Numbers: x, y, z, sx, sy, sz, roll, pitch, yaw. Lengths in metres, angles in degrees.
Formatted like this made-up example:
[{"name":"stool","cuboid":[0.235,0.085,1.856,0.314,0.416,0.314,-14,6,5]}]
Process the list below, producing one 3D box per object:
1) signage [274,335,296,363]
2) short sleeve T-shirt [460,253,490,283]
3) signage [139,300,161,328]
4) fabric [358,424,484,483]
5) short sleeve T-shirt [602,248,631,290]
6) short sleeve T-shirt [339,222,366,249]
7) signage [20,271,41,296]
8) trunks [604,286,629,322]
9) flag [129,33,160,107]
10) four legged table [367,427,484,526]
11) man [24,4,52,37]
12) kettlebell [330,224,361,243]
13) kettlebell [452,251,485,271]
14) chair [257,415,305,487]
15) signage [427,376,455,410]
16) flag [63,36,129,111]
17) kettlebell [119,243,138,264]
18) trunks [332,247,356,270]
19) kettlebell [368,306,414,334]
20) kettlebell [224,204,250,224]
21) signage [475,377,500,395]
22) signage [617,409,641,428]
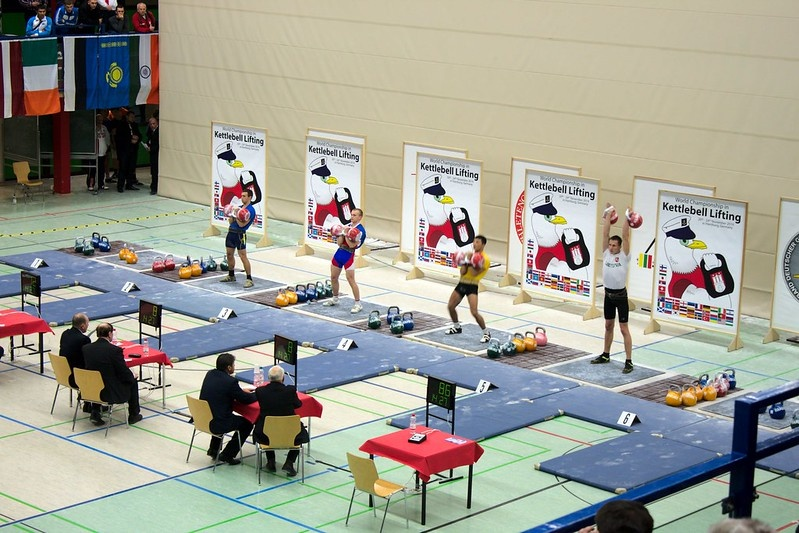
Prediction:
[{"name":"signage","cuboid":[-1.839,1.331,15.969,0.101,0.503,0.586,-6,9,-43]},{"name":"short sleeve T-shirt","cuboid":[1.456,0.014,19.797,0.548,0.678,0.422,23,15,37]},{"name":"signage","cuboid":[-4.381,0.837,17.496,0.594,0.433,0.100,13,8,44]},{"name":"fabric","cuboid":[0.497,2.602,14.158,1.035,0.251,1.058,-10,17,-41]},{"name":"short sleeve T-shirt","cuboid":[3.975,0.049,18.386,0.413,0.709,0.351,2,9,5]},{"name":"short sleeve T-shirt","cuboid":[-0.995,-0.693,21.446,0.420,0.226,0.595,6,25,-5]},{"name":"signage","cuboid":[-6.931,0.344,18.769,0.226,0.467,0.714,-7,13,-41]},{"name":"trunks","cuboid":[3.984,0.709,18.349,0.431,0.605,0.359,2,9,7]},{"name":"flag","cuboid":[-7.735,-6.032,30.334,0.385,2.127,1.096,9,12,40]},{"name":"four legged table","cuboid":[0.380,2.739,14.334,1.385,0.963,1.444,-10,16,-41]},{"name":"man","cuboid":[-10.254,-6.967,28.406,0.686,0.897,1.110,-2,10,-18]},{"name":"kettlebell","cuboid":[-1.039,-0.733,21.563,0.315,0.283,0.768,0,-2,27]},{"name":"kettlebell","cuboid":[1.428,-0.117,19.675,0.316,0.176,0.432,7,7,-29]},{"name":"chair","cuboid":[-1.782,2.767,14.938,0.821,1.204,0.822,0,30,-7]},{"name":"signage","cuboid":[0.632,1.889,14.722,0.175,0.467,0.518,-8,13,-43]},{"name":"flag","cuboid":[-8.935,-5.727,29.141,2.180,2.021,0.157,-9,15,-39]},{"name":"kettlebell","cuboid":[-6.576,-0.243,24.316,0.576,0.309,0.351,10,13,42]},{"name":"trunks","cuboid":[-1.201,-0.164,21.507,0.412,0.378,0.255,21,-2,10]},{"name":"kettlebell","cuboid":[-0.096,1.117,20.401,0.664,0.297,0.649,-2,5,-39]},{"name":"kettlebell","cuboid":[-3.647,-1.185,22.476,0.345,0.224,0.552,17,0,-39]},{"name":"signage","cuboid":[1.540,2.152,17.791,0.437,0.164,0.307,-1,10,-13]},{"name":"signage","cuboid":[3.781,2.493,16.628,0.234,0.181,0.318,-21,21,-39]}]
